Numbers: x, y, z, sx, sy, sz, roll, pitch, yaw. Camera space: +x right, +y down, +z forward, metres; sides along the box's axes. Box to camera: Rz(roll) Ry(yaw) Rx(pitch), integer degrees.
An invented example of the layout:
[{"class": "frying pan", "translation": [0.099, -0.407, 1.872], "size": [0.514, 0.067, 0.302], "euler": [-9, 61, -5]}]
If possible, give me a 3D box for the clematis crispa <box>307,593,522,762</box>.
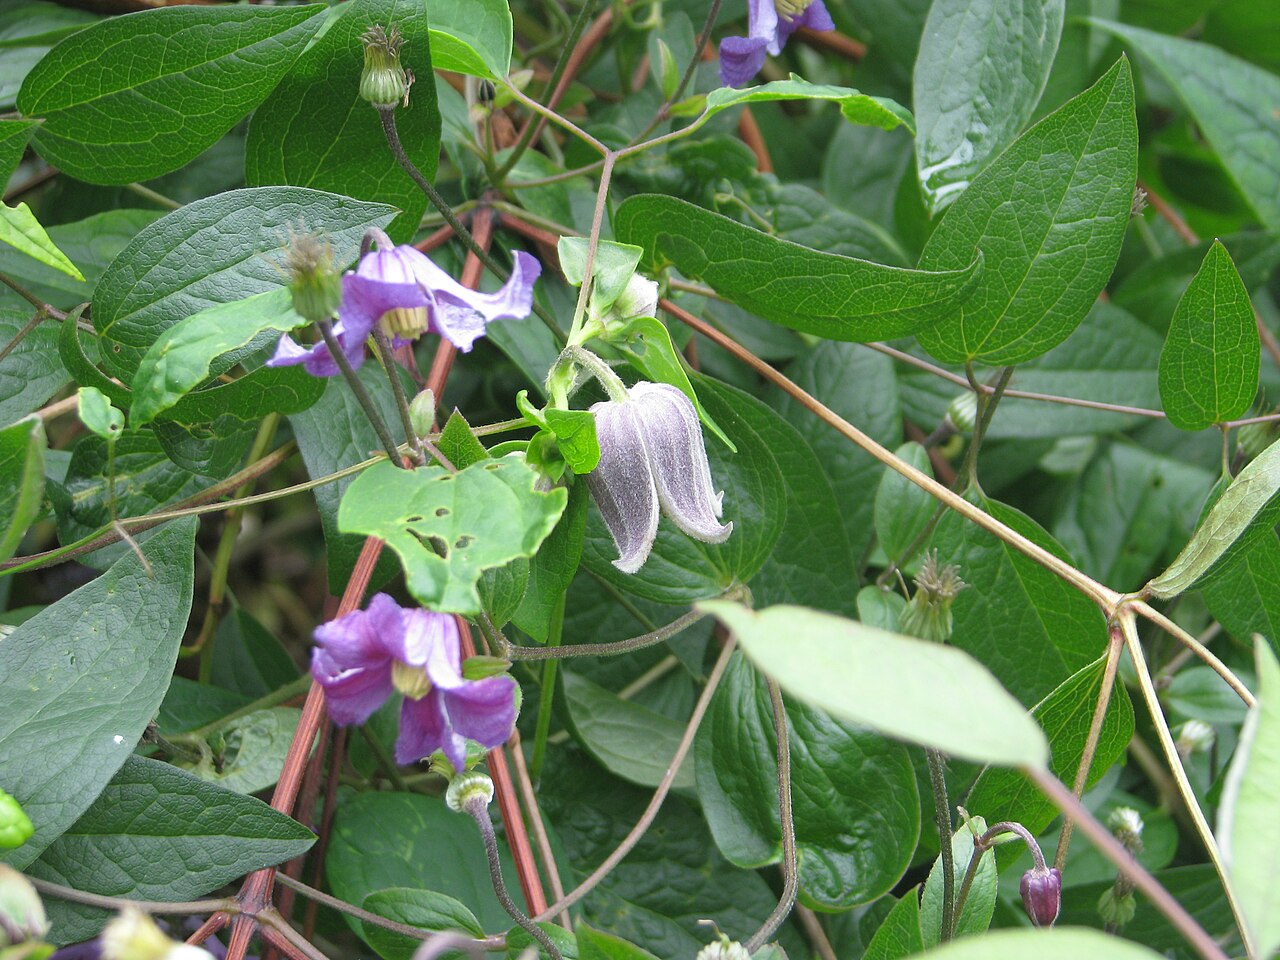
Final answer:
[{"class": "clematis crispa", "translation": [-0.180, 0.160, 1.054], "size": [0.134, 0.151, 0.092], "euler": [0, 35, -16]}]
